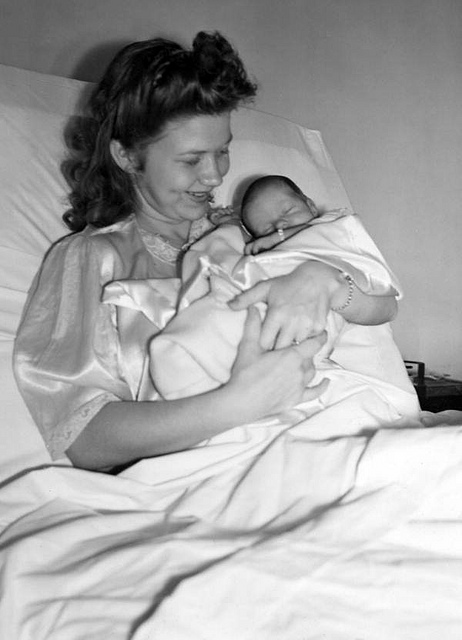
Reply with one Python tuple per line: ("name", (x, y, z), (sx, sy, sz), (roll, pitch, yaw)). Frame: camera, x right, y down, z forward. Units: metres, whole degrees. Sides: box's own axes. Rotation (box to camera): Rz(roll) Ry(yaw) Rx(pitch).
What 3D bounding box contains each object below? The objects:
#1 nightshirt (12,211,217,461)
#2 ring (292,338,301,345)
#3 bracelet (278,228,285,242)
("nightshirt", (-0.294, -0.016, 1.408), (0.512, 0.425, 0.418), (-16, 28, -40))
("ring", (0.108, 0.035, 1.132), (0.009, 0.004, 0.010), (26, 35, -20))
("bracelet", (0.095, -0.159, 1.289), (0.009, 0.026, 0.020), (-10, -34, 5))
